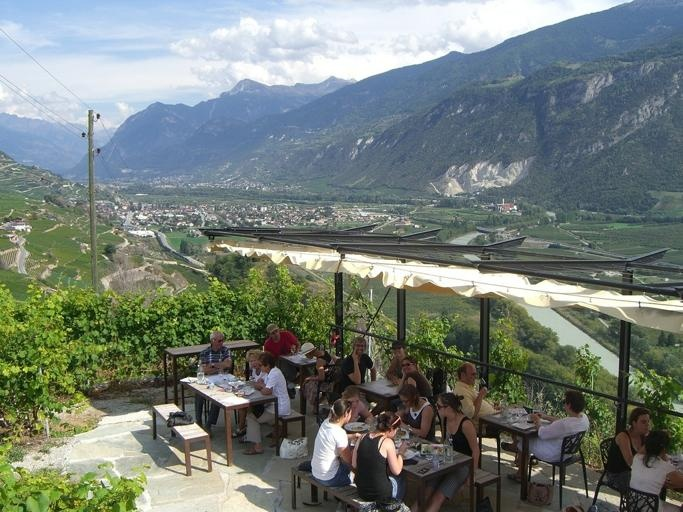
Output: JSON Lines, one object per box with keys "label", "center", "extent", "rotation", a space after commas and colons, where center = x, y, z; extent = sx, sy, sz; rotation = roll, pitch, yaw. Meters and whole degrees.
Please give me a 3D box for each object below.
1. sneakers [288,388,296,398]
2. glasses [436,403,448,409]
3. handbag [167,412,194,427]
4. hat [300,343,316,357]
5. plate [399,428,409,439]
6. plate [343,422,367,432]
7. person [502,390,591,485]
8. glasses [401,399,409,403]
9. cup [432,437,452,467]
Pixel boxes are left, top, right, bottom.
{"label": "sneakers", "center": [-0.888, 2.419, 9.689], "extent": [0.120, 0.298, 0.126], "rotation": [-2, -14, -8]}
{"label": "glasses", "center": [1.233, 1.835, 6.626], "extent": [0.120, 0.035, 0.110], "rotation": [-6, 4, -11]}
{"label": "handbag", "center": [-2.352, 2.388, 7.997], "extent": [0.337, 0.179, 0.314], "rotation": [4, 5, 33]}
{"label": "hat", "center": [-0.635, 1.718, 10.053], "extent": [0.263, 0.131, 0.243], "rotation": [-27, 7, 18]}
{"label": "plate", "center": [0.756, 2.091, 6.497], "extent": [0.104, 0.120, 0.137], "rotation": [7, -7, -35]}
{"label": "plate", "center": [0.174, 2.075, 6.585], "extent": [0.279, 0.087, 0.186], "rotation": [1, 4, -5]}
{"label": "person", "center": [2.665, 2.281, 6.902], "extent": [0.791, 1.369, 0.613], "rotation": [6, 6, 38]}
{"label": "glasses", "center": [0.817, 1.817, 6.866], "extent": [0.064, 0.027, 0.050], "rotation": [10, -7, -42]}
{"label": "cup", "center": [1.141, 2.207, 6.155], "extent": [0.286, 0.263, 0.173], "rotation": [-5, 7, -41]}
